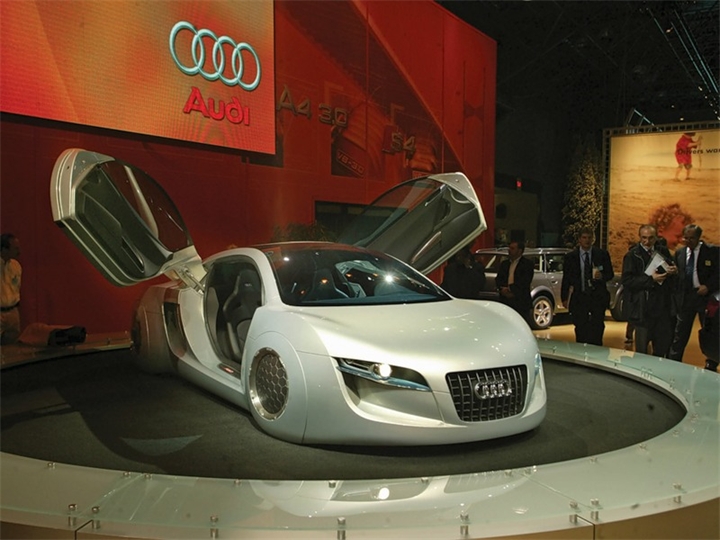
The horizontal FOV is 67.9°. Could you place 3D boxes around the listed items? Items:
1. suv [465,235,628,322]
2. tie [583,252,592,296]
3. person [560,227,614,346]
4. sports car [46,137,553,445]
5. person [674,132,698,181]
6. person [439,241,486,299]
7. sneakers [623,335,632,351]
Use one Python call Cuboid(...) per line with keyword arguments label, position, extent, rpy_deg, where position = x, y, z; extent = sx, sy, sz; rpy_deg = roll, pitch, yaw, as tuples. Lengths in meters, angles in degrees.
Cuboid(label="suv", position=(3.449, 0.245, 10.683), extent=(2.759, 1.449, 1.595), rpy_deg=(-4, 4, -34))
Cuboid(label="tie", position=(2.831, 0.032, 6.647), extent=(0.095, 0.497, 0.077), rpy_deg=(0, 2, 12))
Cuboid(label="person", position=(2.808, 0.210, 6.682), extent=(0.558, 1.493, 0.664), rpy_deg=(1, 3, 34))
Cuboid(label="sports car", position=(-0.418, 0.075, 3.897), extent=(3.343, 1.934, 1.371), rpy_deg=(0, 2, 20))
Cuboid(label="person", position=(7.150, -2.517, 11.782), extent=(0.470, 0.998, 0.120), rpy_deg=(-1, 2, 0))
Cuboid(label="person", position=(1.496, 0.069, 7.687), extent=(0.458, 0.404, 0.811), rpy_deg=(2, 6, 20))
Cuboid(label="sneakers", position=(4.341, 1.198, 8.632), extent=(0.117, 0.171, 0.371), rpy_deg=(-3, -6, 13))
